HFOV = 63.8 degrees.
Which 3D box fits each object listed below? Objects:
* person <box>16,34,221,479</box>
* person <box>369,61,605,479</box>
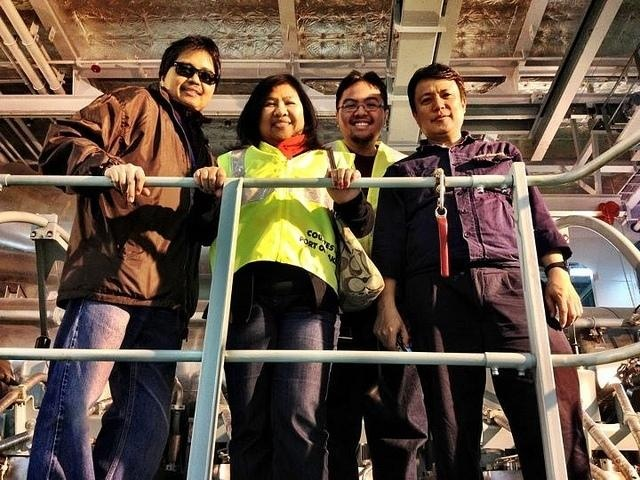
[{"bbox_3d":[-0.773,-0.079,2.255,0.543,2.127,0.748,-8,-17,26],"label":"person"},{"bbox_3d":[0.660,-0.014,2.408,0.902,2.057,0.530,-8,-17,24],"label":"person"}]
